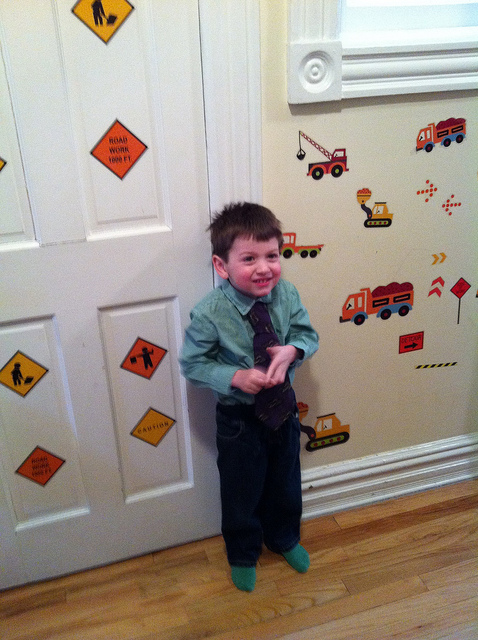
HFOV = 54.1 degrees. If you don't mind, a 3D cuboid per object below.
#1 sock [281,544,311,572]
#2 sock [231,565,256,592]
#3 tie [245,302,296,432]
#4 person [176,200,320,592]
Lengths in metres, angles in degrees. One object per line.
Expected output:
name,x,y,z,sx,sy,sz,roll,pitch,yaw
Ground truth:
sock,0.164,0.649,1.268,0.078,0.047,0.063,-11,29,-16
sock,0.011,0.670,1.213,0.062,0.043,0.049,-1,28,3
tie,0.072,0.130,1.054,0.112,0.316,0.141,1,26,7
person,0.030,0.217,1.152,0.338,0.960,0.315,-7,26,-10
